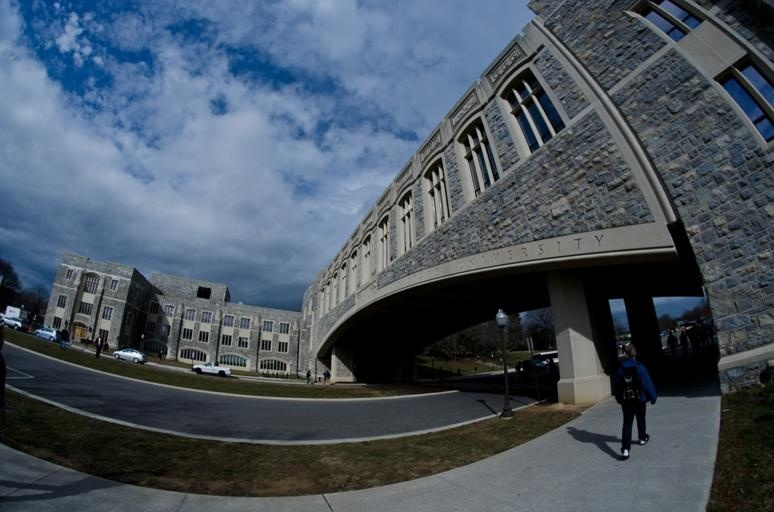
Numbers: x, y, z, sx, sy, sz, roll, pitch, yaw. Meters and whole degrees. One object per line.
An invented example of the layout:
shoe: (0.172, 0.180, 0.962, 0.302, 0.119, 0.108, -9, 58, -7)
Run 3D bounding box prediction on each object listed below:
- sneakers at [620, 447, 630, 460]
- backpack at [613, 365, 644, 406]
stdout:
sneakers: (5.808, 4.868, 8.737, 0.193, 0.286, 0.293, -8, -13, 32)
backpack: (6.075, 3.278, 8.980, 0.574, 0.938, 0.305, -9, -13, 34)
